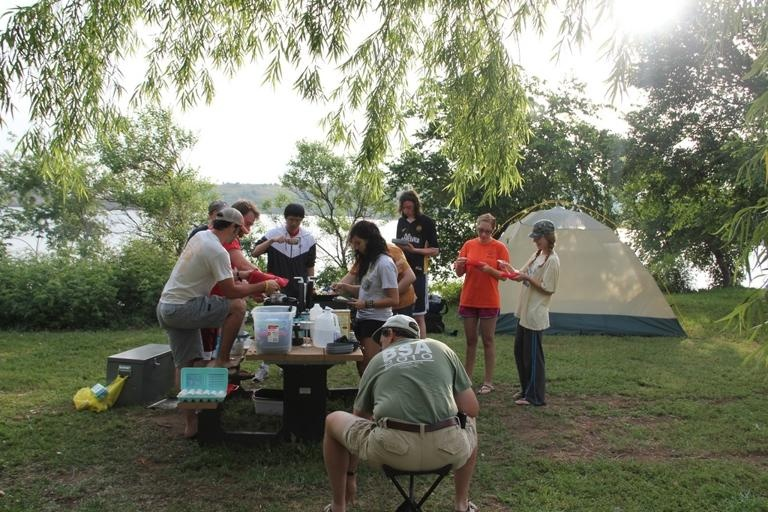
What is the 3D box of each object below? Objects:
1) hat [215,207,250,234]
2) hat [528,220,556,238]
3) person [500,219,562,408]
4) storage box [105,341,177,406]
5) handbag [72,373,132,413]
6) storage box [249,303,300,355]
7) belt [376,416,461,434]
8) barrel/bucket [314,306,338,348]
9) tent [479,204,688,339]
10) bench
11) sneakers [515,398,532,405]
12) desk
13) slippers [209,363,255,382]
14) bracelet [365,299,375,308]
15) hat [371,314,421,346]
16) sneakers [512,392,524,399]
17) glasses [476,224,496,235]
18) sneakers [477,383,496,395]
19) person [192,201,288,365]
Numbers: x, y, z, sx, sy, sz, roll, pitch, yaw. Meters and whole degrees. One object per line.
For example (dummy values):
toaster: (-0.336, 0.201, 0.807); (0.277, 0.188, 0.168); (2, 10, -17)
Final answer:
hat: (-1.908, -0.460, 7.493); (0.316, 0.180, 0.227); (5, 8, -41)
hat: (2.212, -0.366, 8.284); (0.294, 0.162, 0.213); (-2, 13, 11)
person: (2.103, 0.810, 8.382); (0.688, 2.566, 0.444); (-1, -4, 25)
storage box: (-3.571, 1.660, 8.602); (0.562, 0.619, 0.981); (5, 5, -3)
handbag: (-3.870, 1.870, 8.080); (0.513, 0.268, 0.442); (2, 3, -27)
storage box: (-1.329, 0.894, 7.243); (0.611, 0.499, 0.696); (1, 3, 8)
belt: (0.364, 1.671, 5.910); (0.839, 0.142, 0.114); (2, -4, -7)
barrel/bucket: (-0.695, 0.880, 7.352); (0.366, 0.406, 0.289); (3, 4, 17)
tent: (4.071, 0.549, 12.096); (2.820, 1.923, 2.895); (0, 1, 10)
bench: (-2.178, 1.695, 7.480); (0.708, 0.526, 0.989); (1, 13, -3)
sneakers: (1.961, 2.058, 8.401); (0.198, 0.084, 0.080); (2, -3, 3)
desk: (-1.046, 1.795, 8.360); (2.012, 1.097, 2.094); (4, 1, -8)
slippers: (-2.162, 1.745, 8.664); (0.419, 0.112, 0.459); (-1, -4, 42)
bracelet: (-0.175, 0.607, 7.396); (0.068, 0.106, 0.101); (2, -1, 5)
hat: (0.129, 0.777, 6.224); (0.378, 0.206, 0.278); (3, -8, 20)
sneakers: (1.915, 2.019, 8.558); (0.073, 0.050, 0.115); (-24, 5, -13)
glasses: (1.523, -0.376, 8.900); (0.172, 0.191, 0.197); (4, 5, 26)
sneakers: (1.512, 1.955, 8.743); (0.244, 0.068, 0.124); (1, 1, -40)
person: (-2.173, 0.518, 8.370); (1.521, 2.621, 1.093); (0, 16, -30)
